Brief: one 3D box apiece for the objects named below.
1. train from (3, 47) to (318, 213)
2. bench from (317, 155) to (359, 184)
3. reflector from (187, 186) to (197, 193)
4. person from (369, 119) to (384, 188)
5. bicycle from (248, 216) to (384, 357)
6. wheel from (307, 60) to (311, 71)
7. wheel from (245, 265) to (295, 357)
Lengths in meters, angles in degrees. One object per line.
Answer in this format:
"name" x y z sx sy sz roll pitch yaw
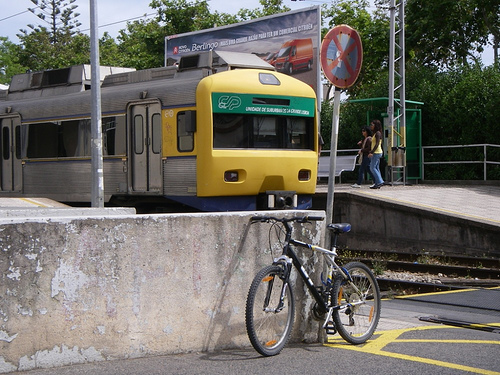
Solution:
"train" -3.368 -1.361 15.536 3.313 3.706 9.938 -1 2 -42
"bench" 3.021 -0.644 20.323 0.596 0.664 1.358 -6 2 -33
"reflector" -1.196 0.040 12.213 0.019 0.200 0.370 -4 14 -39
"person" 3.863 -0.996 17.935 0.524 2.053 0.947 6 10 12
"bicycle" 0.700 1.015 6.348 1.972 1.437 0.955 2 -4 -35
"wheel" 2.682 -5.483 26.639 0.066 0.328 0.298 4 -5 -8
"wheel" 0.228 1.254 6.045 0.158 0.943 0.799 -1 -1 39
